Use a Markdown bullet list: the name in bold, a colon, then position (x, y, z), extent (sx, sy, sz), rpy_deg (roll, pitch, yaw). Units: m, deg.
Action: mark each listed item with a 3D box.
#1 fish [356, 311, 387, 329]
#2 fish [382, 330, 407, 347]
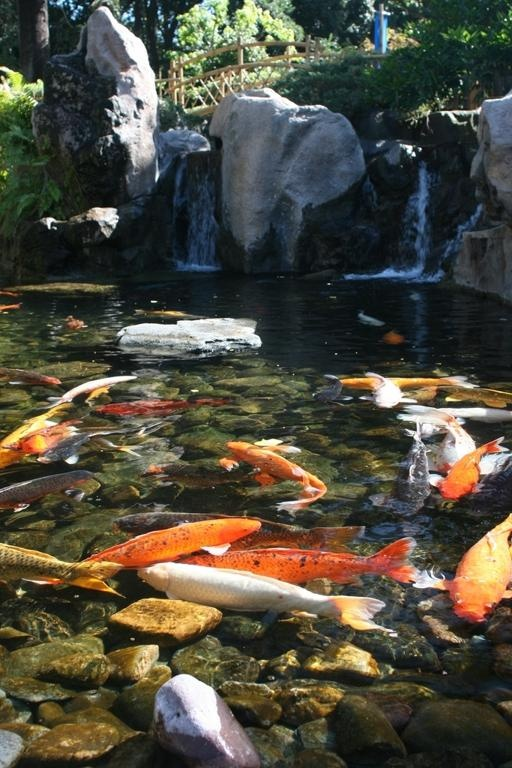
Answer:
- **fish**: position (1.176, -0.651, 8.142), extent (0.109, 0.165, 0.405), rpy_deg (-38, 27, -24)
- **fish**: position (1.209, -0.394, 6.919), extent (0.177, 0.037, 0.163), rpy_deg (-4, 16, -16)
